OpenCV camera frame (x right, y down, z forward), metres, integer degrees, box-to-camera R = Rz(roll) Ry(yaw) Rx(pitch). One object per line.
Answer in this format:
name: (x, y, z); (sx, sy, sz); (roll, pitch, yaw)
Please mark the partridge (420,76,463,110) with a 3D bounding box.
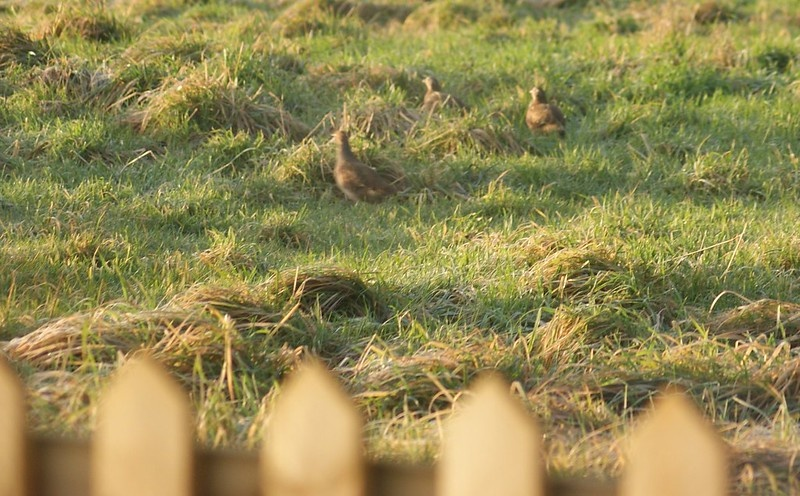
partridge: (0.508, -1.708, 12.774); (0.561, 0.386, 0.316); (9, 19, 21)
